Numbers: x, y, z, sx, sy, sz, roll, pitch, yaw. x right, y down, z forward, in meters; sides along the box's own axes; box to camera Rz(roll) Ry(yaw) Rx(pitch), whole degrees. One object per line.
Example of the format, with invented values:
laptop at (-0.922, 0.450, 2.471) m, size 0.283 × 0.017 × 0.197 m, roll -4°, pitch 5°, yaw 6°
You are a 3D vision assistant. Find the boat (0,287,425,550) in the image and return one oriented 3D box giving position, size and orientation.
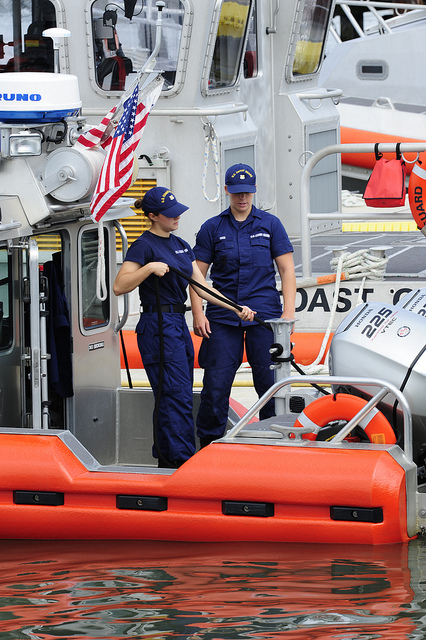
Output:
boat at (-0.004, 0.446, 4.059) m, size 1.707 × 0.570 × 0.968 m, roll 1°, pitch 2°, yaw 10°

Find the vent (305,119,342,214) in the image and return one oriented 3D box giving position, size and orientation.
vent at (1.196, -1.633, 10.490) m, size 0.441 × 1.301 × 0.545 m, roll 0°, pitch 24°, yaw -3°

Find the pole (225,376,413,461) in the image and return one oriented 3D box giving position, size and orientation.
pole at (0.413, 0.385, 3.848) m, size 0.766 × 0.350 × 0.136 m, roll -1°, pitch 9°, yaw 28°

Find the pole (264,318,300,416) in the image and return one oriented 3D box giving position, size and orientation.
pole at (0.319, 0.214, 4.471) m, size 0.185 × 0.445 × 0.173 m, roll -5°, pitch -4°, yaw 13°

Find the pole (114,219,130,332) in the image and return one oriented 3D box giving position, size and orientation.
pole at (-0.453, -0.216, 4.952) m, size 0.114 × 0.531 × 0.090 m, roll 7°, pitch 19°, yaw 27°

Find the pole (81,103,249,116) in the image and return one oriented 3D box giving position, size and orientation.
pole at (-0.386, -1.693, 7.858) m, size 1.050 × 0.058 × 0.695 m, roll -3°, pitch 4°, yaw 3°

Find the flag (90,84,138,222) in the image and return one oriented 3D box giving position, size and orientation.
flag at (-0.417, -0.733, 4.202) m, size 0.225 × 0.534 × 0.202 m, roll 16°, pitch 19°, yaw 10°

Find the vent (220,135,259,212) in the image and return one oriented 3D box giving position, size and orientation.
vent at (0.104, -1.409, 8.860) m, size 0.433 × 0.742 × 0.424 m, roll -16°, pitch 28°, yaw -35°
